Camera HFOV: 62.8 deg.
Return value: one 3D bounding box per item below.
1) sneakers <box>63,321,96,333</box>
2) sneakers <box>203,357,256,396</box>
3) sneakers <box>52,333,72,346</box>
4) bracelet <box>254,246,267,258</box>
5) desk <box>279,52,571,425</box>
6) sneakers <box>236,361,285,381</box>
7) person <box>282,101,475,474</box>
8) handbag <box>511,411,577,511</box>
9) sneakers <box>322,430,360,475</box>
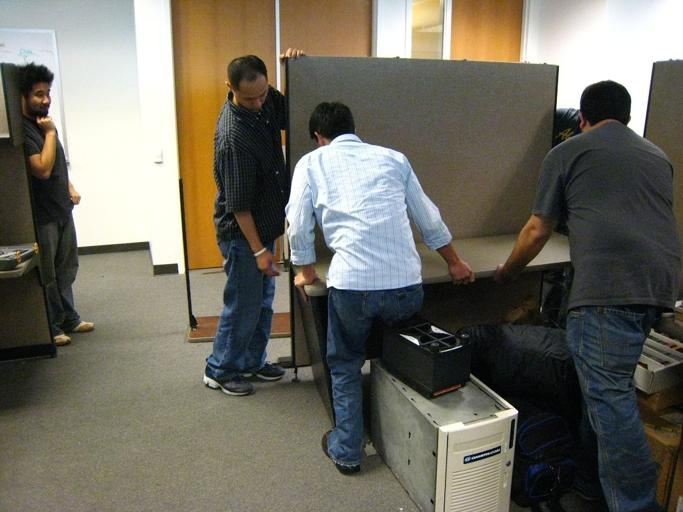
[{"bbox_3d":[-2.027,0.527,4.323,0.208,0.095,0.077,-9,16,-9],"label":"sneakers"},{"bbox_3d":[-0.709,0.768,3.575,0.350,0.192,0.156,17,16,18],"label":"sneakers"},{"bbox_3d":[-2.039,0.607,4.058,0.101,0.079,0.177,-2,-1,-29],"label":"sneakers"},{"bbox_3d":[-0.470,-0.023,3.221,0.053,0.015,0.056,-39,3,-14],"label":"bracelet"},{"bbox_3d":[0.570,-0.172,3.261,1.692,2.070,1.115,-1,5,-10],"label":"desk"},{"bbox_3d":[-0.535,0.763,3.651,0.291,0.146,0.109,-2,18,-8],"label":"sneakers"},{"bbox_3d":[0.171,0.125,3.101,0.881,1.939,0.913,4,10,33],"label":"person"},{"bbox_3d":[0.953,0.991,2.805,0.389,0.397,0.283,-5,17,-11],"label":"handbag"},{"bbox_3d":[-0.024,1.060,2.947,0.104,0.136,0.290,-10,49,-20],"label":"sneakers"}]
